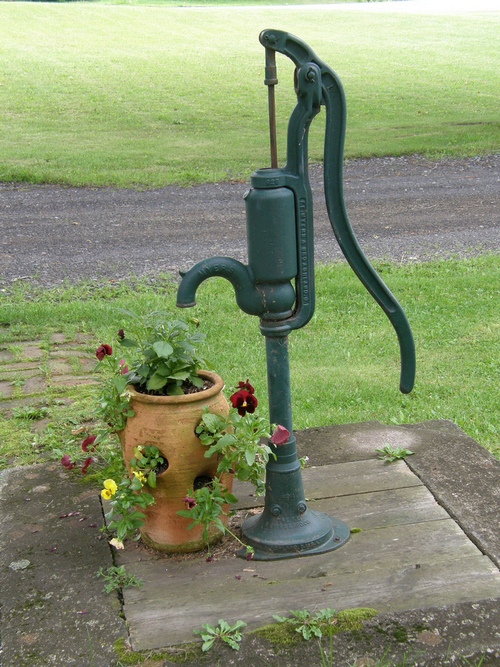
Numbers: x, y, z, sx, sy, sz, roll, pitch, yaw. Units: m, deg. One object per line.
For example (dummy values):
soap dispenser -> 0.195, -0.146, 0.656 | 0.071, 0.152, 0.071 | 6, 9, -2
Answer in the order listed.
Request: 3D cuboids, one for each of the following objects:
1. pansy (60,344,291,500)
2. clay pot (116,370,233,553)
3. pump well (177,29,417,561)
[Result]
pansy -> -0.187, 0.256, 2.412 | 0.686, 0.762, 0.518 | 1, -3, -2
clay pot -> -0.212, 0.366, 2.227 | 0.382, 0.382, 0.539 | -10, 23, -20
pump well -> 0.111, -0.038, 2.300 | 0.713, 1.510, 0.608 | 5, 24, -11
